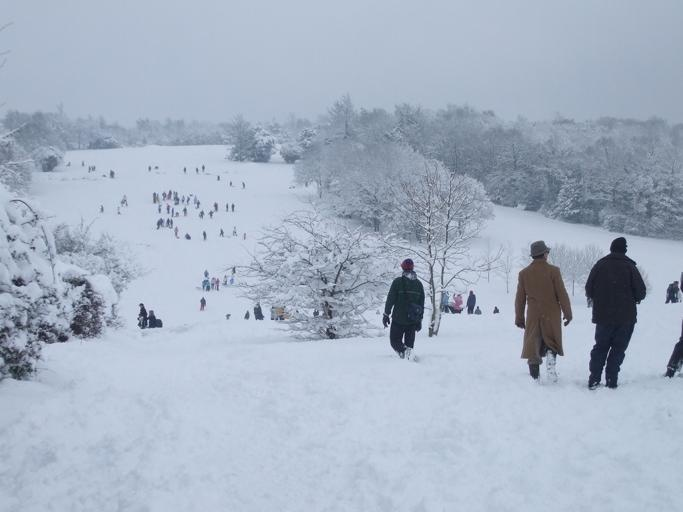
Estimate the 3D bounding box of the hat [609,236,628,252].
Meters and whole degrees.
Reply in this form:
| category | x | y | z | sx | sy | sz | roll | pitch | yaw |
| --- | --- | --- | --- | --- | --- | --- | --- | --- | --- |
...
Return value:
| category | x | y | z | sx | sy | sz | roll | pitch | yaw |
| --- | --- | --- | --- | --- | --- | --- | --- | --- | --- |
| hat | 6.368 | -0.272 | 19.797 | 0.284 | 0.391 | 0.412 | 6 | 21 | 31 |

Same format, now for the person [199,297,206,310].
| category | x | y | z | sx | sy | sz | roll | pitch | yaw |
| --- | --- | --- | --- | --- | --- | --- | --- | --- | --- |
| person | -6.948 | 2.361 | 43.592 | 0.273 | 0.744 | 1.209 | 0 | 14 | -8 |

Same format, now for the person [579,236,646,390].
| category | x | y | z | sx | sy | sz | roll | pitch | yaw |
| --- | --- | --- | --- | --- | --- | --- | --- | --- | --- |
| person | 6.111 | 1.308 | 19.534 | 1.218 | 3.329 | 1.140 | -10 | 18 | -42 |

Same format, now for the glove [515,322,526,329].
| category | x | y | z | sx | sy | sz | roll | pitch | yaw |
| --- | --- | --- | --- | --- | --- | --- | --- | --- | --- |
| glove | 4.140 | 1.605 | 20.082 | 0.175 | 0.128 | 0.251 | 5 | -7 | -16 |

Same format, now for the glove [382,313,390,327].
| category | x | y | z | sx | sy | sz | roll | pitch | yaw |
| --- | --- | --- | --- | --- | --- | --- | --- | --- | --- |
| glove | 1.098 | 1.573 | 20.996 | 0.218 | 0.325 | 0.095 | -4 | 1 | -1 |

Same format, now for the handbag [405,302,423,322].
| category | x | y | z | sx | sy | sz | roll | pitch | yaw |
| --- | --- | --- | --- | --- | --- | --- | --- | --- | --- |
| handbag | 1.790 | 1.412 | 21.138 | 0.412 | 0.474 | 0.332 | -8 | -4 | 2 |

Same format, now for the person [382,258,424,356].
| category | x | y | z | sx | sy | sz | roll | pitch | yaw |
| --- | --- | --- | --- | --- | --- | --- | --- | --- | --- |
| person | 1.556 | 1.340 | 21.206 | 0.930 | 2.459 | 0.947 | 6 | 14 | 15 |

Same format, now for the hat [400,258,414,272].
| category | x | y | z | sx | sy | sz | roll | pitch | yaw |
| --- | --- | --- | --- | --- | --- | --- | --- | --- | --- |
| hat | 1.648 | 0.218 | 21.287 | 0.244 | 0.293 | 0.322 | 0 | 18 | -3 |

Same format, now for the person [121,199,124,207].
| category | x | y | z | sx | sy | sz | roll | pitch | yaw |
| --- | --- | --- | --- | --- | --- | --- | --- | --- | --- |
| person | -16.757 | -4.092 | 66.663 | 0.252 | 0.479 | 0.768 | -1 | 14 | -14 |

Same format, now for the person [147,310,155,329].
| category | x | y | z | sx | sy | sz | roll | pitch | yaw |
| --- | --- | --- | --- | --- | --- | --- | --- | --- | --- |
| person | -7.231 | 2.527 | 33.138 | 0.278 | 0.538 | 1.214 | -1 | 14 | -13 |

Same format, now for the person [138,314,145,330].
| category | x | y | z | sx | sy | sz | roll | pitch | yaw |
| --- | --- | --- | --- | --- | --- | --- | --- | --- | --- |
| person | -7.612 | 2.580 | 33.215 | 0.298 | 0.506 | 0.789 | -1 | 14 | -15 |

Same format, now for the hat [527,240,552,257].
| category | x | y | z | sx | sy | sz | roll | pitch | yaw |
| --- | --- | --- | --- | --- | --- | --- | --- | --- | --- |
| hat | 4.649 | -0.176 | 20.115 | 0.373 | 0.228 | 0.426 | -15 | 22 | 38 |
